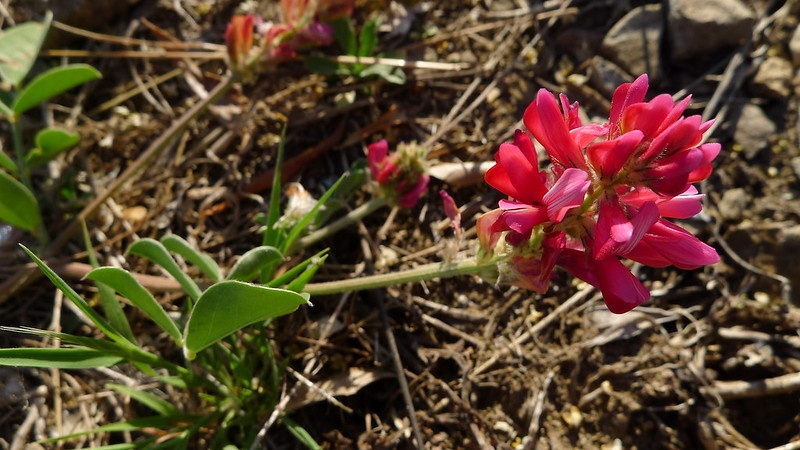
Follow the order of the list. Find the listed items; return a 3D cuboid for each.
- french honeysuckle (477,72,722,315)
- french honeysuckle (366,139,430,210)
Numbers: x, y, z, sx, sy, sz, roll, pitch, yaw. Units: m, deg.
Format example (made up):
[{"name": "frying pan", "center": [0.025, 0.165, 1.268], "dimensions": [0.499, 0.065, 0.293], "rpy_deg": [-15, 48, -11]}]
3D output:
[{"name": "french honeysuckle", "center": [0.685, -0.083, 2.385], "dimensions": [0.804, 0.591, 0.670], "rpy_deg": [-2, 57, -3]}, {"name": "french honeysuckle", "center": [-0.041, -0.223, 2.847], "dimensions": [0.267, 0.259, 0.163], "rpy_deg": [30, 13, -18]}]
